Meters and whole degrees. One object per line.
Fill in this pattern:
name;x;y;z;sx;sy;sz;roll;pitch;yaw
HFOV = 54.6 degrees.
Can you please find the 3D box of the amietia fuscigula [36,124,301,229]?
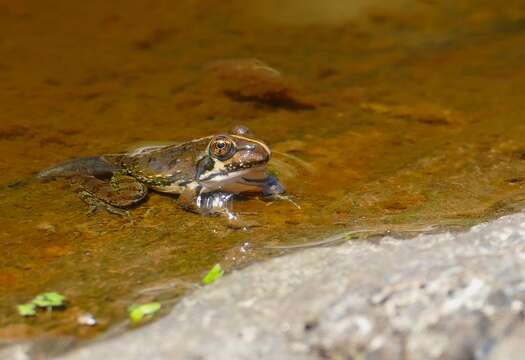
amietia fuscigula;-0.826;-0.267;5.974;3.666;0.748;2.137;5;23;30
